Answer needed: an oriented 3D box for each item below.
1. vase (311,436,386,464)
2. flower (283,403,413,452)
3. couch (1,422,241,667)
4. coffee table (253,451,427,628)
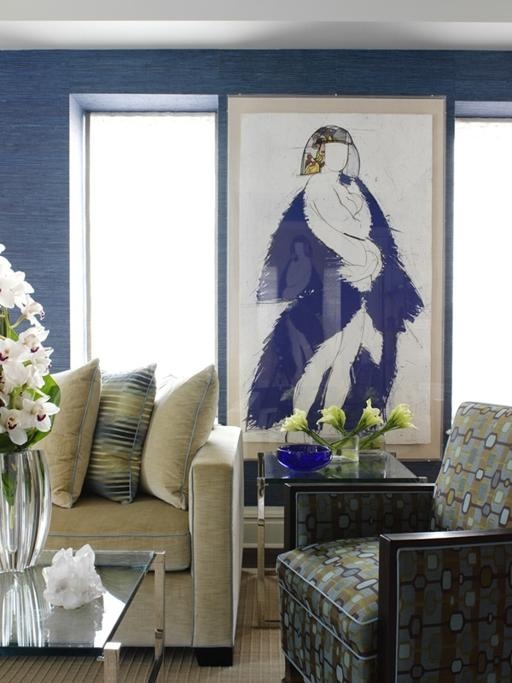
[{"bbox_3d":[0.395,0.412,3.350,0.201,0.081,0.112,0,-1,5],"label":"vase"},{"bbox_3d":[0.357,0.337,3.444,0.299,0.128,0.289,0,-6,-21],"label":"flower"},{"bbox_3d":[-0.361,0.733,3.138,0.719,0.524,0.696,-1,-4,2],"label":"couch"},{"bbox_3d":[0.283,0.728,3.203,0.633,0.599,0.655,0,1,4],"label":"coffee table"}]
